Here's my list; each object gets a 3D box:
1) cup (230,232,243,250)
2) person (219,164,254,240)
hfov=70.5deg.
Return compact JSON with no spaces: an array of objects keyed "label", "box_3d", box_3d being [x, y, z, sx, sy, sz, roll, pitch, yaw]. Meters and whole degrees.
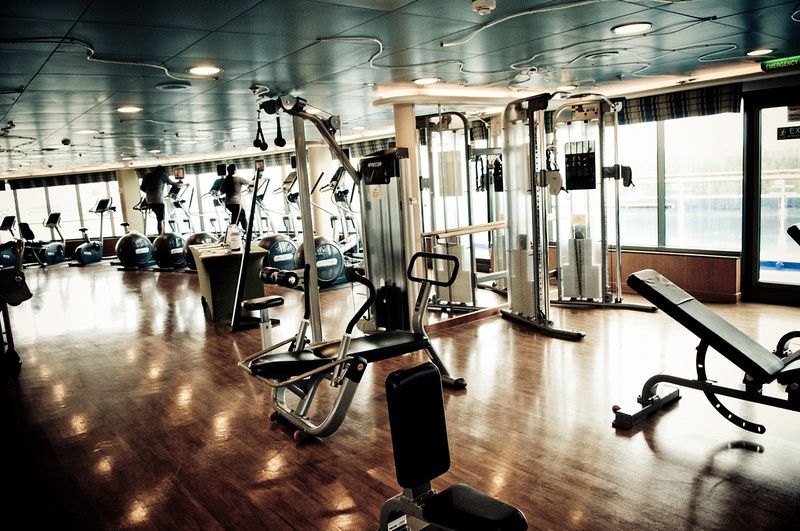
[{"label":"cup","box_3d":[-2.484,-0.375,8.595,0.143,0.257,0.352,-5,9,9]},{"label":"person","box_3d":[-3.181,-1.301,11.025,0.539,1.338,2.454,-10,10,-16]}]
